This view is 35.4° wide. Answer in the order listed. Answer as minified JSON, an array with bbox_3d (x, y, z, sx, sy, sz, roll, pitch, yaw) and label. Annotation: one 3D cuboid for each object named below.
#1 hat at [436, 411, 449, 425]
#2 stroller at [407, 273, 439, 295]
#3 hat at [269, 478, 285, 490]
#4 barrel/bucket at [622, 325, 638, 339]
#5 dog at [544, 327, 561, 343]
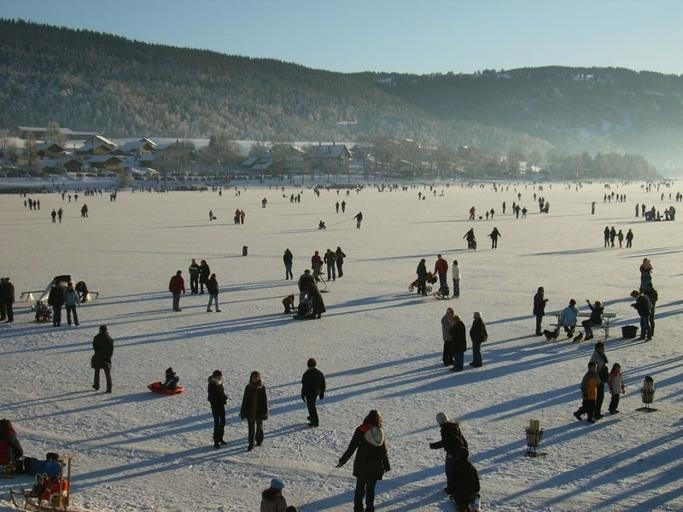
[{"bbox_3d":[2.632,4.289,27.891,0.306,0.409,0.481,0,6,7],"label":"hat"},{"bbox_3d":[3.216,1.154,43.127,0.562,0.919,1.419,-1,-5,-14],"label":"stroller"},{"bbox_3d":[-1.631,5.691,26.420,0.311,0.356,0.360,-2,6,-9],"label":"hat"},{"bbox_3d":[9.754,2.628,36.337,0.408,0.329,0.433,4,-6,0],"label":"barrel/bucket"},{"bbox_3d":[7.187,2.680,36.272,0.832,0.623,0.257,1,7,-30],"label":"dog"}]
